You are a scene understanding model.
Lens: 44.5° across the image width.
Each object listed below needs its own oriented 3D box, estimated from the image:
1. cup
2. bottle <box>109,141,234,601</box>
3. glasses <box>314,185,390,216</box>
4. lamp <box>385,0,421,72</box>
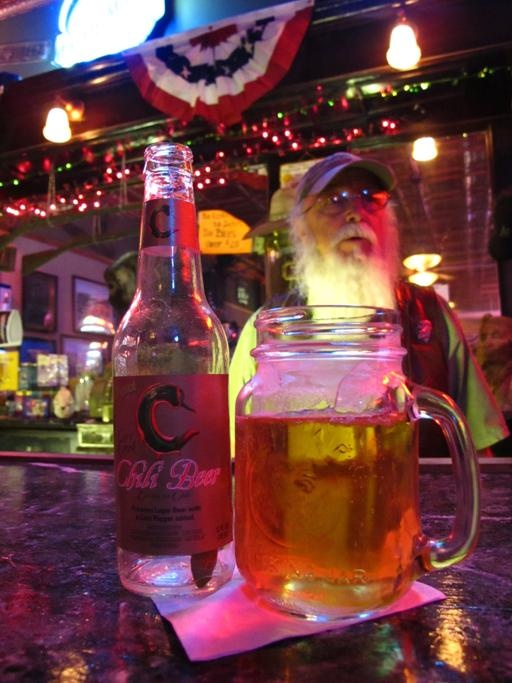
[{"bbox_3d":[0.079,0.080,0.462,0.187,0.214,0.122,0,10,-3],"label":"cup"},{"bbox_3d":[-0.069,0.016,0.541,0.110,0.375,0.189,-2,11,-12],"label":"bottle"},{"bbox_3d":[0.357,-0.535,2.381,0.171,0.045,0.154,-3,-20,-15],"label":"glasses"},{"bbox_3d":[0.703,-1.425,2.936,0.150,0.280,0.138,11,10,31],"label":"lamp"}]
